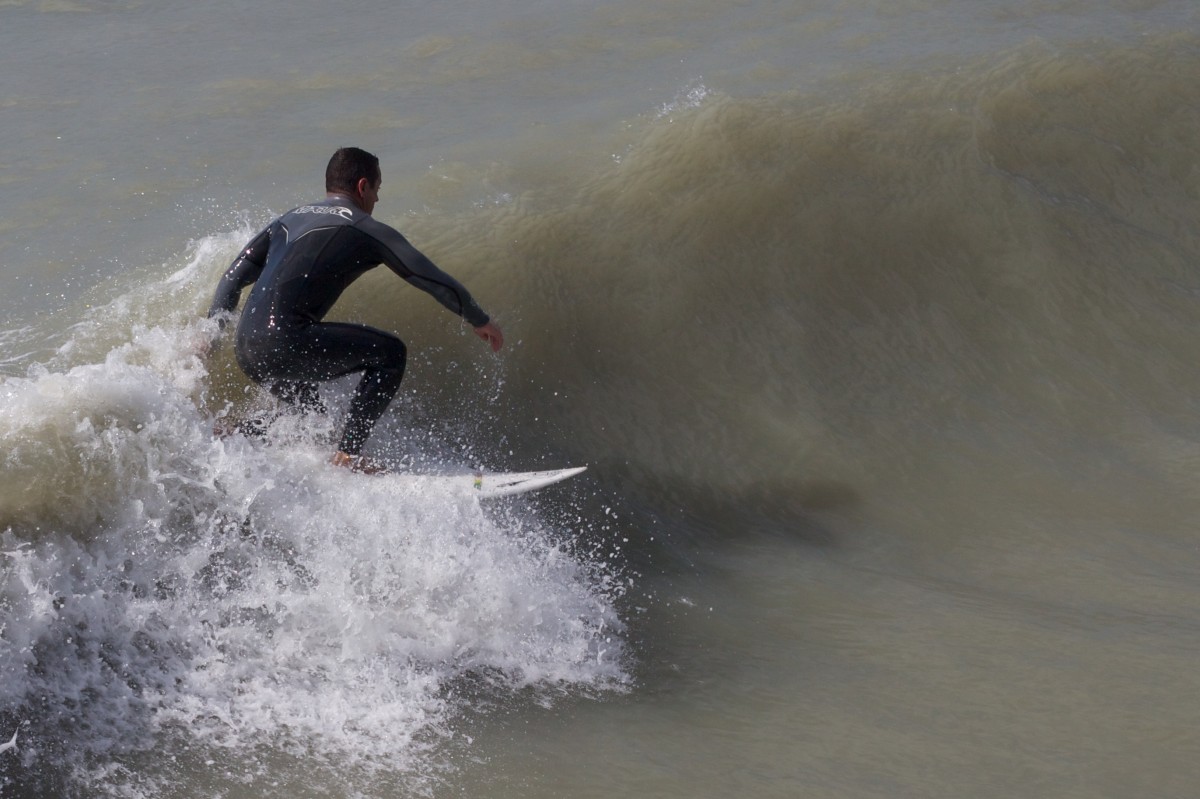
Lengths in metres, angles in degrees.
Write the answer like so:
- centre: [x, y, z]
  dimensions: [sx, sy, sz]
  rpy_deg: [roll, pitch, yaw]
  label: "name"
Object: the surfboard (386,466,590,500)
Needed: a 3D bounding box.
- centre: [-1.099, 0.765, 13.848]
  dimensions: [2.553, 0.198, 0.270]
  rpy_deg: [0, 39, -2]
  label: "surfboard"
